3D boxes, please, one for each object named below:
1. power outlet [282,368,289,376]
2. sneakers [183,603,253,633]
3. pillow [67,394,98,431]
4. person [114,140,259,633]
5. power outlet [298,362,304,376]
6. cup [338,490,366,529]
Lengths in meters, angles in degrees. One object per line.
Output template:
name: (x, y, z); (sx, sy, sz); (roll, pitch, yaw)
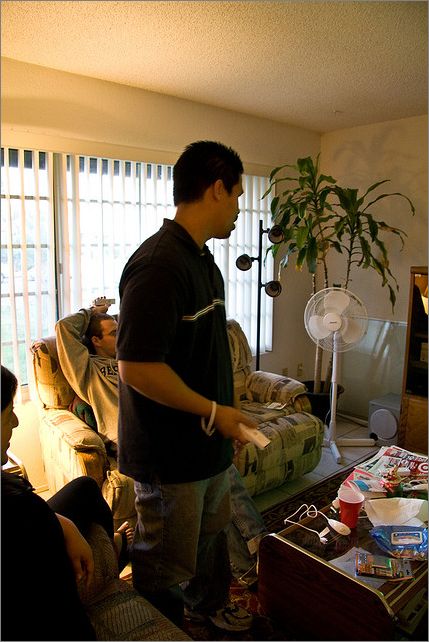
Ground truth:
power outlet: (0.677, 0.493, 4.470); (0.033, 0.062, 0.062); (17, 25, 41)
sneakers: (0.012, 1.018, 1.626); (0.226, 0.107, 0.095); (2, 4, 4)
pillow: (-0.661, 0.471, 2.336); (0.048, 0.126, 0.162); (-24, 60, -29)
person: (-0.078, 0.310, 1.261); (0.342, 1.544, 0.596); (-1, 5, 0)
power outlet: (0.858, 0.493, 4.640); (0.026, 0.100, 0.107); (0, -2, 34)
cup: (0.461, 0.655, 1.611); (0.100, 0.111, 0.101); (7, -5, 1)
